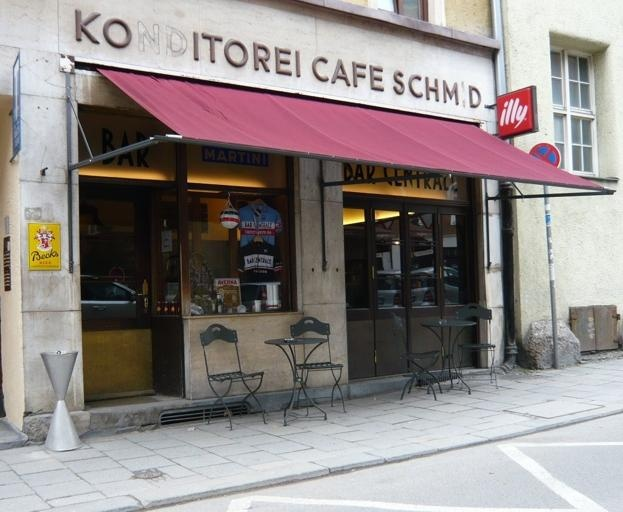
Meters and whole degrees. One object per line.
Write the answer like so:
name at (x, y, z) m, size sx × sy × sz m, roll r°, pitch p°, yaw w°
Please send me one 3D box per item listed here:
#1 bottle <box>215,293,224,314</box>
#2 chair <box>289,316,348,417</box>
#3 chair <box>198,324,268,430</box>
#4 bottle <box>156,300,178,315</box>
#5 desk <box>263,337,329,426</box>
bottle at (-1.275, 0.640, 9.426) m, size 0.131 × 0.263 × 0.059 m, roll -2°, pitch -2°, yaw -21°
chair at (0.065, 1.494, 9.327) m, size 0.793 × 1.242 × 0.791 m, roll 0°, pitch 1°, yaw 33°
chair at (-1.019, 1.513, 9.024) m, size 0.684 × 1.273 × 1.082 m, roll -4°, pitch -2°, yaw 29°
bottle at (-1.986, 0.708, 9.349) m, size 0.244 × 0.146 × 0.233 m, roll 1°, pitch -5°, yaw 0°
desk at (-0.168, 1.634, 9.357) m, size 1.038 × 1.144 × 0.998 m, roll 3°, pitch -8°, yaw -31°
